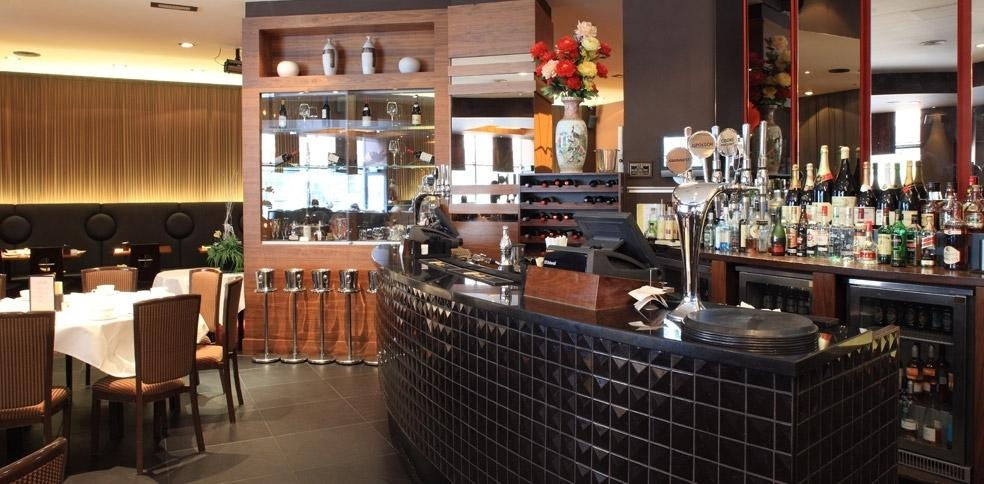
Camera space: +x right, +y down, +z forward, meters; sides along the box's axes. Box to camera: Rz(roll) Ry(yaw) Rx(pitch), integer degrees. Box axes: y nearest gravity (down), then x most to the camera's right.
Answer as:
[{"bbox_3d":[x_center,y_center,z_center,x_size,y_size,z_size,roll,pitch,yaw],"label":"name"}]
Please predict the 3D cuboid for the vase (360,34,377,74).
[{"bbox_3d":[-1.803,-2.717,9.492,0.221,0.593,0.258,-4,5,-6],"label":"vase"}]

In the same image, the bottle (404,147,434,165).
[{"bbox_3d":[-1.036,-1.254,9.588,0.621,0.142,0.157,17,4,12],"label":"bottle"}]

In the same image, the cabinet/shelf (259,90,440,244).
[{"bbox_3d":[-2.059,-1.102,9.414,2.789,1.865,0.790,0,5,0],"label":"cabinet/shelf"}]

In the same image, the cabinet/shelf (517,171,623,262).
[{"bbox_3d":[0.981,-0.350,7.869,1.491,1.013,0.509,1,-4,4],"label":"cabinet/shelf"}]

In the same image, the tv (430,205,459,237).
[{"bbox_3d":[-0.560,-0.235,7.667,0.266,0.378,0.307,-4,4,-11],"label":"tv"}]

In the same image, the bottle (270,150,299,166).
[{"bbox_3d":[-3.025,-1.222,9.594,0.556,0.138,0.125,-11,22,-1],"label":"bottle"}]

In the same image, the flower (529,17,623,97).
[{"bbox_3d":[0.944,-2.109,7.642,0.865,0.854,0.362,-3,5,5],"label":"flower"}]

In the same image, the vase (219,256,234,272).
[{"bbox_3d":[-4.405,0.386,10.833,0.288,0.236,0.255,0,7,-5],"label":"vase"}]

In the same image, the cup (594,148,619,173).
[{"bbox_3d":[1.627,-1.122,9.077,0.435,0.308,0.438,1,-5,0],"label":"cup"}]

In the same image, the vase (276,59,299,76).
[{"bbox_3d":[-3.005,-2.517,9.503,0.299,0.233,0.275,11,16,17],"label":"vase"}]

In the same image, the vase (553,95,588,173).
[{"bbox_3d":[1.007,-1.308,8.081,0.395,0.884,0.583,-4,4,0],"label":"vase"}]

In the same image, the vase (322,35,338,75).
[{"bbox_3d":[-2.374,-2.699,9.516,0.233,0.570,0.252,-5,5,-12],"label":"vase"}]
